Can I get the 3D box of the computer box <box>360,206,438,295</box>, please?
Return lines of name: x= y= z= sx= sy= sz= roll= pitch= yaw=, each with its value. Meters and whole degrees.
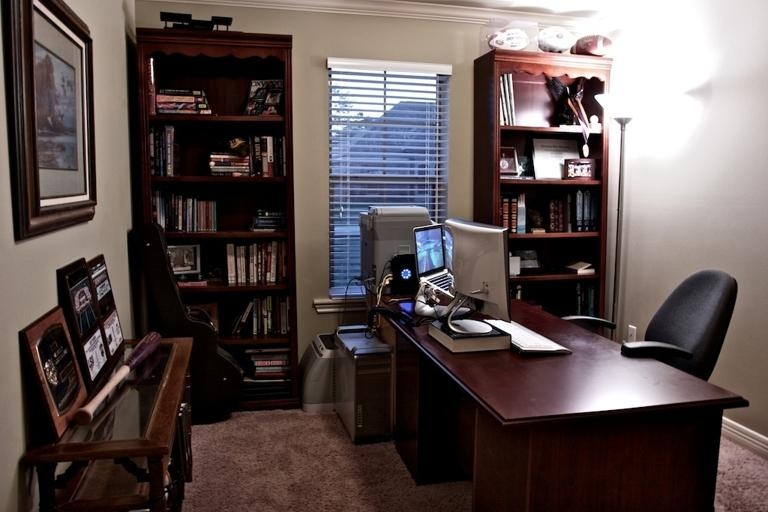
computer box: x=0.114 y=-0.099 z=4.500 sx=0.581 sy=0.586 sz=0.461 roll=-2 pitch=10 yaw=-13

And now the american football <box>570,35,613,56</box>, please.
american football: x=1.703 y=-1.734 z=4.760 sx=0.337 sy=0.141 sz=0.123 roll=3 pitch=40 yaw=15

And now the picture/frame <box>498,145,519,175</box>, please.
picture/frame: x=1.047 y=-0.785 z=4.812 sx=0.180 sy=0.243 sz=0.079 roll=0 pitch=-6 yaw=0

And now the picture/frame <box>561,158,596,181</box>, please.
picture/frame: x=1.672 y=-0.747 z=4.935 sx=0.311 sy=0.208 sz=0.167 roll=0 pitch=-2 yaw=9

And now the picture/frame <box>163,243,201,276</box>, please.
picture/frame: x=-1.510 y=0.018 z=4.399 sx=0.215 sy=0.225 sz=0.158 roll=-3 pitch=10 yaw=-16

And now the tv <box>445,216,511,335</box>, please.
tv: x=0.524 y=0.130 z=3.249 sx=0.219 sy=0.507 sz=0.616 roll=-6 pitch=10 yaw=-21

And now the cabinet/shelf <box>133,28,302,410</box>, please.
cabinet/shelf: x=-1.215 y=-0.258 z=4.379 sx=1.129 sy=2.766 sz=0.583 roll=-2 pitch=10 yaw=-7

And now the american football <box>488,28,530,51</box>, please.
american football: x=1.001 y=-1.751 z=4.658 sx=0.230 sy=0.110 sz=0.328 roll=0 pitch=13 yaw=7

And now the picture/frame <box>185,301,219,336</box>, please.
picture/frame: x=-1.327 y=0.452 z=4.322 sx=0.267 sy=0.318 sz=0.236 roll=1 pitch=5 yaw=-9

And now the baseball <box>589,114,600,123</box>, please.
baseball: x=1.790 y=-1.170 z=4.901 sx=0.069 sy=0.036 sz=0.097 roll=17 pitch=19 yaw=9

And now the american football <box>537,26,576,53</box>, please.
american football: x=1.432 y=-1.776 z=4.743 sx=0.328 sy=0.211 sz=0.161 roll=-2 pitch=10 yaw=-8
